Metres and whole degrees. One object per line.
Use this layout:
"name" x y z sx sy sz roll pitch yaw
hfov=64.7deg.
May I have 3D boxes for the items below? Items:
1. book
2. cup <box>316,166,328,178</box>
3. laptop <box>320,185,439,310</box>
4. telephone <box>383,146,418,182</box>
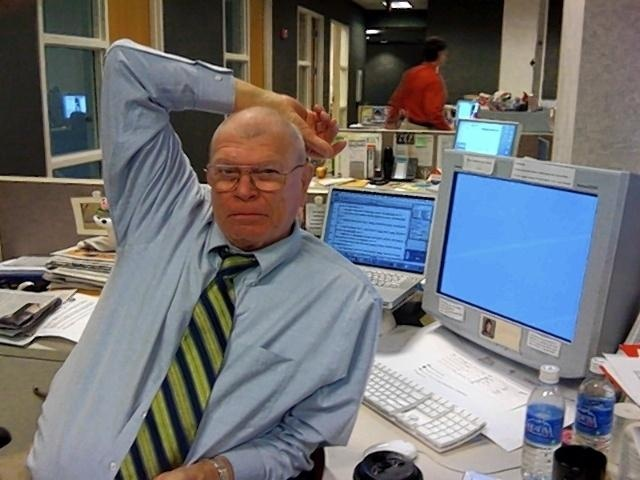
"book" -1.004 0.114 2.131 0.220 0.096 0.231 2 18 1
"cup" 0.014 -0.556 4.163 0.087 0.133 0.085 4 5 0
"laptop" 0.234 -0.039 2.050 0.500 0.338 0.425 11 22 26
"telephone" 0.701 -0.682 4.438 0.277 0.302 0.168 6 18 21
